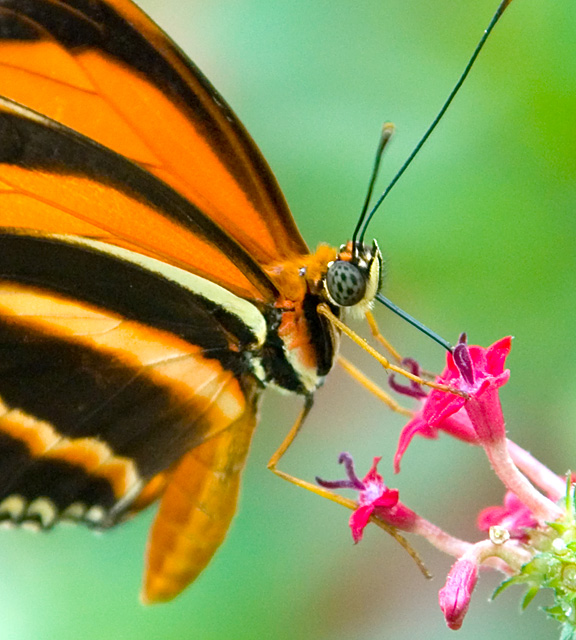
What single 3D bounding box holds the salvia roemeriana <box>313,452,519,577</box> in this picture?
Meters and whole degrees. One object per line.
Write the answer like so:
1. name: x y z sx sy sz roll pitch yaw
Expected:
1. salvia roemeriana: 0.391 0.649 2.785 0.631 0.561 0.255 17 -83 11
